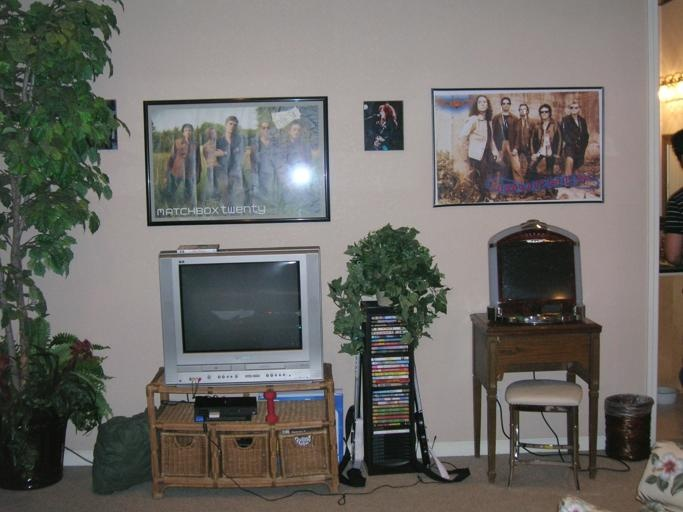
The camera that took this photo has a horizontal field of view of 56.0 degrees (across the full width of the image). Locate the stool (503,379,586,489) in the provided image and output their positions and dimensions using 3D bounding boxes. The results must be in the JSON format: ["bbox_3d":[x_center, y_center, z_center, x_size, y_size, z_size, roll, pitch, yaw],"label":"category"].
[{"bbox_3d":[1.331,1.276,4.806,0.653,0.881,0.677,0,-3,9],"label":"stool"}]

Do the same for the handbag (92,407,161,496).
[{"bbox_3d":[-1.609,1.403,4.631,0.432,0.489,0.142,1,1,-35],"label":"handbag"}]

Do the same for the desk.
[{"bbox_3d":[1.358,1.078,5.019,1.144,1.598,1.049,-1,2,-2],"label":"desk"}]

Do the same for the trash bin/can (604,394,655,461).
[{"bbox_3d":[2.132,1.300,4.952,0.422,0.471,0.402,-3,-1,-39],"label":"trash bin/can"}]

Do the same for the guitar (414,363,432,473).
[{"bbox_3d":[0.601,1.205,4.794,0.099,0.786,0.233,-6,0,11],"label":"guitar"}]
